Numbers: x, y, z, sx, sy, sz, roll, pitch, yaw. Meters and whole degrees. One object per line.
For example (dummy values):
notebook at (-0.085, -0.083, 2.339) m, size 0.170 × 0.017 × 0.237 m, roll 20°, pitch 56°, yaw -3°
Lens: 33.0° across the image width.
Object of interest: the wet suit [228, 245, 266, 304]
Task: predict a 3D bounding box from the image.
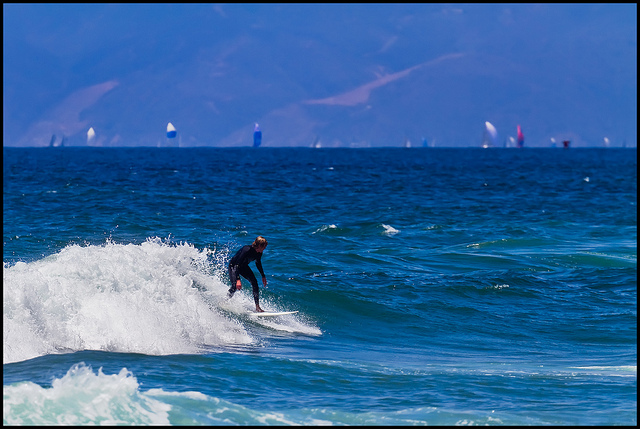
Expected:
wet suit at (-2.634, 2.054, 37.517) m, size 1.273 × 2.100 × 1.326 m, roll -7°, pitch -5°, yaw 16°
